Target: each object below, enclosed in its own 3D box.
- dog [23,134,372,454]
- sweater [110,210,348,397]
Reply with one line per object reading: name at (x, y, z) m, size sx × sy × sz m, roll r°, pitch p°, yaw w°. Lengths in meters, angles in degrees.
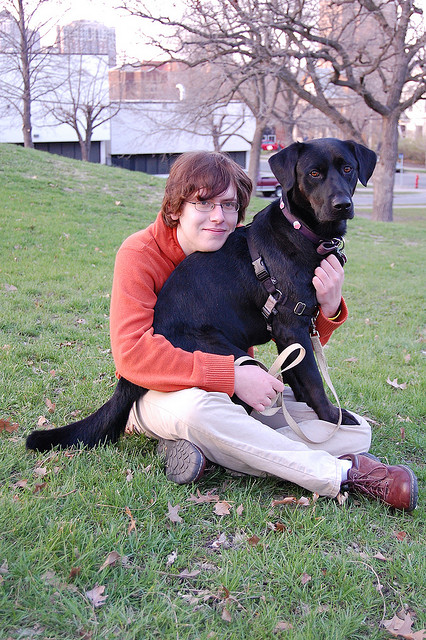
dog at (-0.106, -0.070, 2.736) m, size 1.729 × 1.253 × 0.569 m, roll -8°, pitch -2°, yaw -9°
sweater at (-0.134, -0.037, 2.634) m, size 0.658 × 0.376 × 0.818 m, roll 21°, pitch 39°, yaw -32°
